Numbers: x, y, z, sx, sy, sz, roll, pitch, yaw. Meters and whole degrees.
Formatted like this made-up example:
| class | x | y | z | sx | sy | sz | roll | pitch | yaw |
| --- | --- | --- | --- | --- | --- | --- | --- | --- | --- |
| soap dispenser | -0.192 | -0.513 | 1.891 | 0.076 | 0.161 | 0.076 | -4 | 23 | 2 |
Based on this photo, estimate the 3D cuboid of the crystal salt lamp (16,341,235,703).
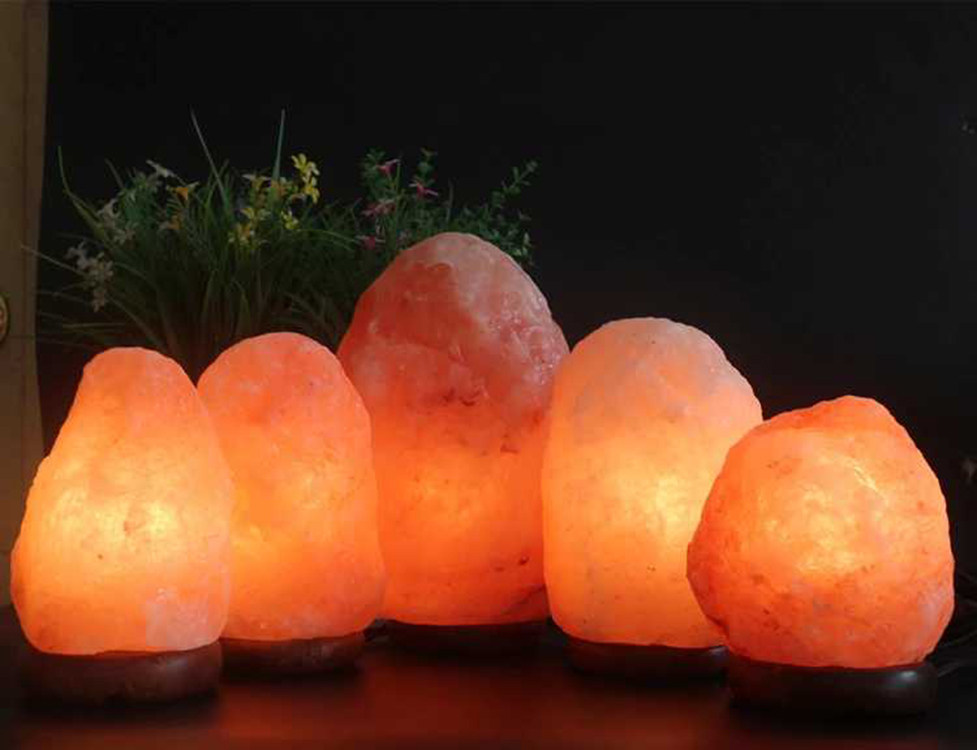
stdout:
| class | x | y | z | sx | sy | sz | roll | pitch | yaw |
| --- | --- | --- | --- | --- | --- | --- | --- | --- | --- |
| crystal salt lamp | -0.437 | 0.174 | 1.316 | 0.261 | 0.404 | 0.151 | -1 | 8 | -13 |

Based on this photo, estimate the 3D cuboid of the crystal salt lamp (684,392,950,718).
| class | x | y | z | sx | sy | sz | roll | pitch | yaw |
| --- | --- | --- | --- | --- | --- | --- | --- | --- | --- |
| crystal salt lamp | 0.377 | 0.199 | 1.295 | 0.355 | 0.382 | 0.318 | 0 | -8 | 3 |

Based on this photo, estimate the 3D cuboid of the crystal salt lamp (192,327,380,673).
| class | x | y | z | sx | sy | sz | roll | pitch | yaw |
| --- | --- | --- | --- | --- | --- | --- | --- | --- | --- |
| crystal salt lamp | -0.282 | 0.166 | 1.496 | 0.282 | 0.429 | 0.281 | 1 | 2 | 32 |

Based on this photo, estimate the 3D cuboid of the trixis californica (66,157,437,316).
| class | x | y | z | sx | sy | sz | roll | pitch | yaw |
| --- | --- | --- | --- | --- | --- | --- | --- | --- | --- |
| trixis californica | -0.364 | -0.171 | 1.625 | 0.396 | 0.163 | 0.392 | -2 | 0 | 22 |
